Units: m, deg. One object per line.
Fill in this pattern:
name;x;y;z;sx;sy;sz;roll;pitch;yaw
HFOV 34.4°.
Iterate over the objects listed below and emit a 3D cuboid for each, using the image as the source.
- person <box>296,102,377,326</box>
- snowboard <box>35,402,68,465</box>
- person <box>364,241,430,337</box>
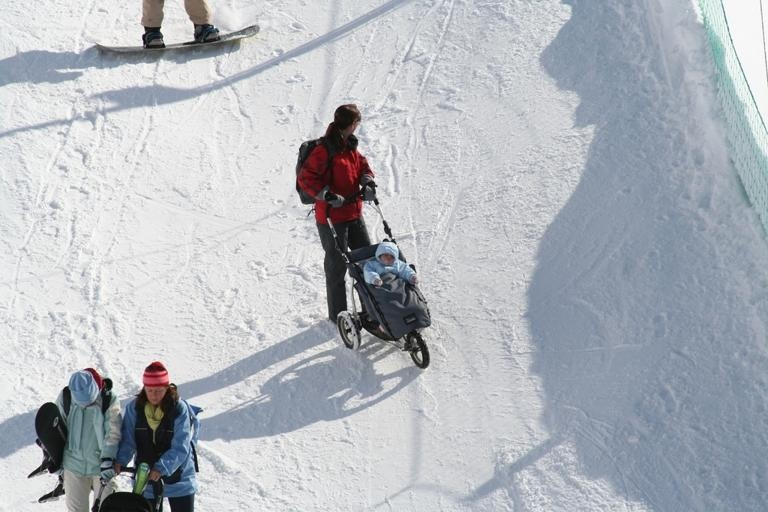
person;-0.643;-0.691;18.264;1.099;1.170;2.763;2;76;-8
snowboard;-4.299;2.341;16.077;0.404;0.715;0.512;-23;45;-19
person;0.106;0.460;18.092;0.896;0.518;1.391;-16;75;-25
